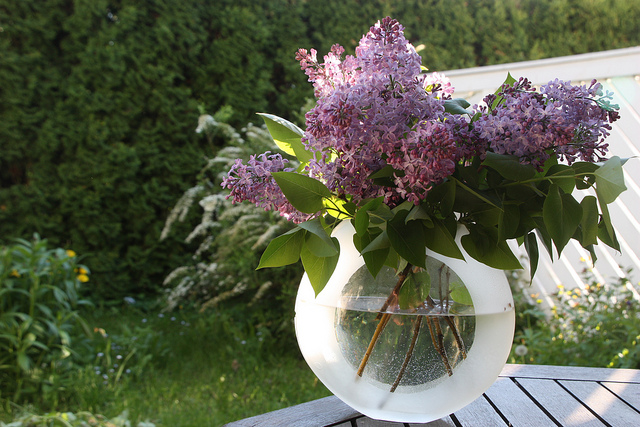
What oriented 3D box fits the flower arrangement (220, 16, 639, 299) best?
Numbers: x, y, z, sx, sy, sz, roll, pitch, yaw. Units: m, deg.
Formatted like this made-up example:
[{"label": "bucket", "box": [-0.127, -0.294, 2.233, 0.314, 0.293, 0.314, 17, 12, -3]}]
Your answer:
[{"label": "flower arrangement", "box": [0.439, -0.036, 2.692, 1.214, 0.751, 1.302, 6, 16, -13]}]
